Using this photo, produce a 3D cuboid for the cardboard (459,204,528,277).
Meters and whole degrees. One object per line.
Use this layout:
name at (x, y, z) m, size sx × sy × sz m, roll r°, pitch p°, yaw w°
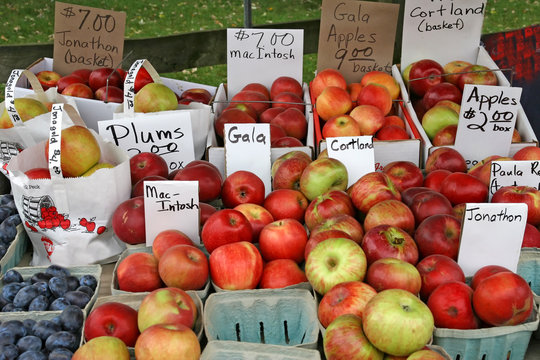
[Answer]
cardboard at (1.260, 0.334, 2.508) m, size 0.331 × 0.438 × 0.053 m, roll 4°, pitch 11°, yaw -3°
